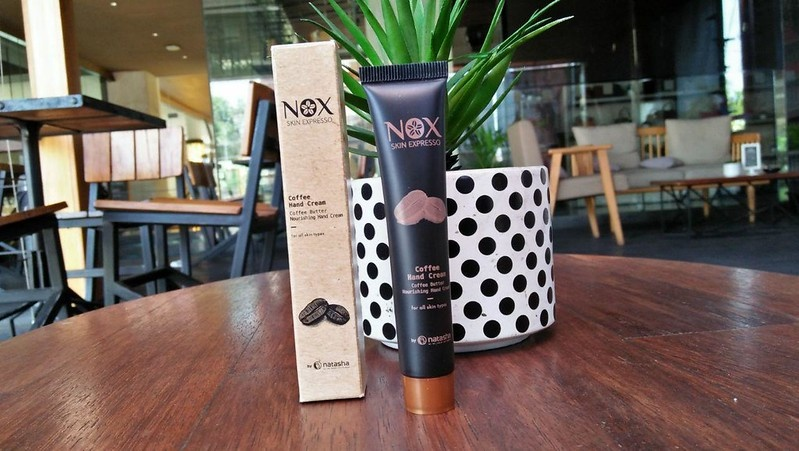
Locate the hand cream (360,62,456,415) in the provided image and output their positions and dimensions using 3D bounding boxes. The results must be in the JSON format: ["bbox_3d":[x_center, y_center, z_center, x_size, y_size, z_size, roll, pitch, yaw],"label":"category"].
[{"bbox_3d":[0.023,0.012,0.692,0.110,0.437,0.076,-5,5,-3],"label":"hand cream"}]

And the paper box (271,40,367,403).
[{"bbox_3d":[-0.106,-0.007,0.720,0.093,0.461,0.083,-5,5,-5],"label":"paper box"}]

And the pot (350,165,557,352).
[{"bbox_3d":[0.117,-0.001,0.861,0.214,0.156,0.212,-5,4,0],"label":"pot"}]

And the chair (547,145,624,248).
[{"bbox_3d":[1.371,-0.218,4.261,0.637,0.813,0.696,2,9,31],"label":"chair"}]

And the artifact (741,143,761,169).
[{"bbox_3d":[2.790,-0.542,4.392,0.127,0.210,0.326,-2,5,32],"label":"artifact"}]

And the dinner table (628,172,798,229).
[{"bbox_3d":[2.770,-0.209,4.665,1.157,0.422,2.056,-3,4,24],"label":"dinner table"}]
